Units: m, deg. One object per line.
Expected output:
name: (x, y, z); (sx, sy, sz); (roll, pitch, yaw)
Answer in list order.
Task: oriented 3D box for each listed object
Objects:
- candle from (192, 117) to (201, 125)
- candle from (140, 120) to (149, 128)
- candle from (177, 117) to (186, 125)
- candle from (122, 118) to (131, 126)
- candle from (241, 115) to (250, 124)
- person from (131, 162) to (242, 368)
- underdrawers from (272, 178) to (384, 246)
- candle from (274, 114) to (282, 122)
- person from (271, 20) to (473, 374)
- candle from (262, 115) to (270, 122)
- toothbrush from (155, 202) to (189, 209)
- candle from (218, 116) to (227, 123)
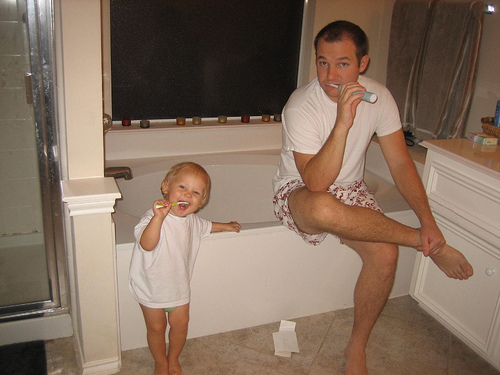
candle: (-0.352, -0.442, 2.544); (0.043, 0.034, 0.045); (4, 13, 15)
candle: (-0.671, -0.404, 2.438); (0.042, 0.033, 0.044); (3, 22, -2)
candle: (-0.451, -0.434, 2.512); (0.043, 0.035, 0.044); (-9, 14, -41)
candle: (-0.788, -0.419, 2.447); (0.042, 0.033, 0.044); (0, 21, -6)
candle: (-0.033, -0.469, 2.640); (0.046, 0.037, 0.048); (3, 16, 7)
person: (-0.275, 0.342, 1.600); (0.396, 0.888, 0.213); (-6, 20, -18)
underdrawers: (0.362, 0.121, 1.842); (0.474, 0.343, 0.203); (-4, 20, -10)
candle: (0.197, -0.505, 2.764); (0.046, 0.048, 0.070); (1, 20, 3)
person: (0.585, 0.012, 1.803); (0.855, 1.460, 0.789); (-12, 23, -31)
candle: (0.113, -0.489, 2.707); (0.040, 0.032, 0.042); (0, 34, -2)
toothbrush: (-0.294, 0.063, 1.418); (0.121, 0.019, 0.014); (-7, 25, -44)
candle: (-0.192, -0.458, 2.583); (0.041, 0.030, 0.042); (3, 12, 3)
